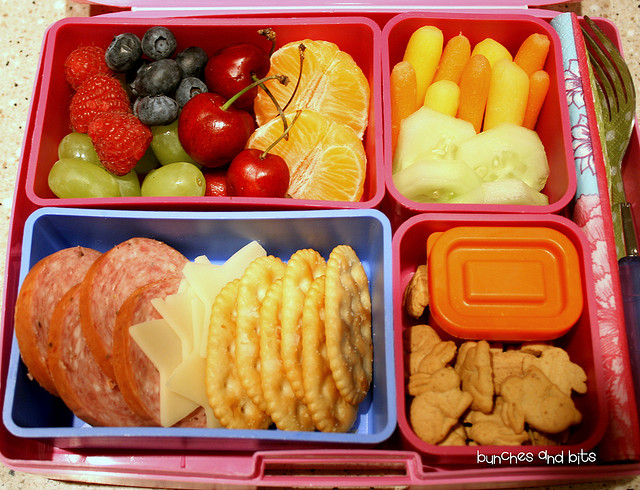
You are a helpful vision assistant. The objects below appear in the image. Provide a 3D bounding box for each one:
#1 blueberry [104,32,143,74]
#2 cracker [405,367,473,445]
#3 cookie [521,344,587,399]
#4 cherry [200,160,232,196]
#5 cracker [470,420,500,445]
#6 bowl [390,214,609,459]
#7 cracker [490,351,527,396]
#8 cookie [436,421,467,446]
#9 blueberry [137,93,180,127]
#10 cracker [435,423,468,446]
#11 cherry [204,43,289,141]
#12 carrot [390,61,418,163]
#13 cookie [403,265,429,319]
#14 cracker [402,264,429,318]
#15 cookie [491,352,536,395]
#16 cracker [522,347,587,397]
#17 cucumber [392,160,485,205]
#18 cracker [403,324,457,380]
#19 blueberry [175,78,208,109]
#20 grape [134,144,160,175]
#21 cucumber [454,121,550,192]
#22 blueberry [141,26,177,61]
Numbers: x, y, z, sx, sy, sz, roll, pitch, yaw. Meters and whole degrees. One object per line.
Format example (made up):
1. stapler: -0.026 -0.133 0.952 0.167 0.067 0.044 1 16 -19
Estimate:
1. blueberry: -0.563 -0.556 1.854 0.054 0.112 0.100 31 37 31
2. cracker: 0.289 0.397 1.664 0.181 0.044 0.164 -39 70 -12
3. cookie: 0.618 0.330 1.704 0.120 0.017 0.146 15 55 10
4. cherry: -0.304 -0.186 1.923 0.080 0.089 0.119 4 74 -8
5. cracker: 0.418 0.475 1.640 0.050 0.017 0.062 -9 68 21
6. bowl: 0.459 0.248 1.725 0.536 0.247 0.611 -2 67 3
7. cracker: 0.494 0.325 1.692 0.087 0.021 0.108 6 63 -2
8. cookie: 0.346 0.486 1.664 0.052 0.015 0.065 5 49 23
9. blueberry: -0.461 -0.378 1.875 0.083 0.067 0.104 -6 77 2
10. cracker: 0.342 0.493 1.671 0.052 0.015 0.060 -27 31 25
11. cherry: -0.192 -0.501 1.930 0.195 0.196 0.297 36 75 1
12. carrot: 0.268 -0.483 2.067 0.093 0.404 0.115 -2 83 7
13. cookie: 0.263 0.132 1.805 0.027 0.083 0.132 9 73 -18
14. cracker: 0.279 0.124 1.816 0.096 0.035 0.147 -8 54 42
15. cookie: 0.492 0.325 1.712 0.090 0.022 0.111 0 61 -2
16. cracker: 0.624 0.323 1.683 0.110 0.016 0.129 17 68 18
17. cucumber: 0.338 -0.162 1.823 0.268 0.100 0.140 -8 66 0
18. cracker: 0.285 0.280 1.730 0.112 0.033 0.132 12 61 24
19. blueberry: -0.379 -0.444 1.905 0.071 0.095 0.095 -2 92 -5
20. grape: -0.525 -0.254 1.966 0.072 0.041 0.081 24 37 -33
21. cucumber: 0.536 -0.254 1.907 0.194 0.053 0.228 -32 86 4
22. blueberry: -0.467 -0.580 1.860 0.084 0.051 0.105 -5 95 -7
